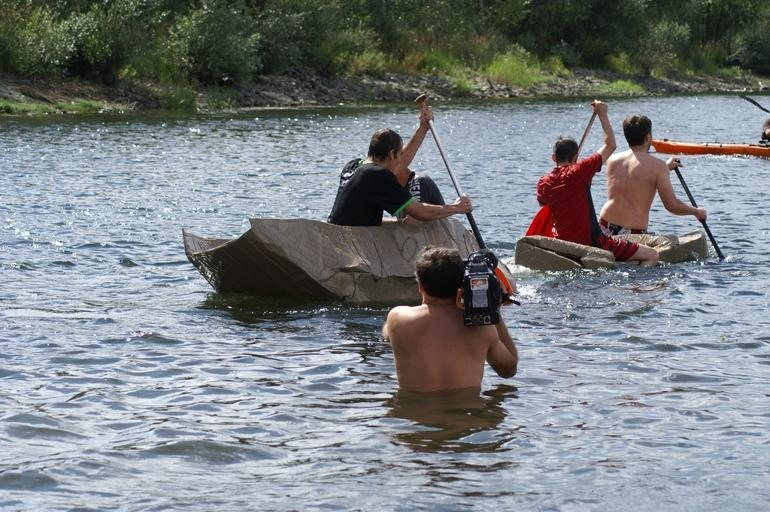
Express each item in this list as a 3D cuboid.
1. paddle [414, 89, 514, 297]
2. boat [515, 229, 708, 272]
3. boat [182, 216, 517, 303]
[{"bbox_3d":[1.461,-0.809,21.211,1.018,3.808,0.353,-8,22,-7],"label":"paddle"},{"bbox_3d":[4.018,-0.068,23.885,2.383,0.322,1.255,-2,7,-18],"label":"boat"},{"bbox_3d":[-0.898,0.119,22.791,3.971,0.837,2.170,4,-3,-21],"label":"boat"}]
